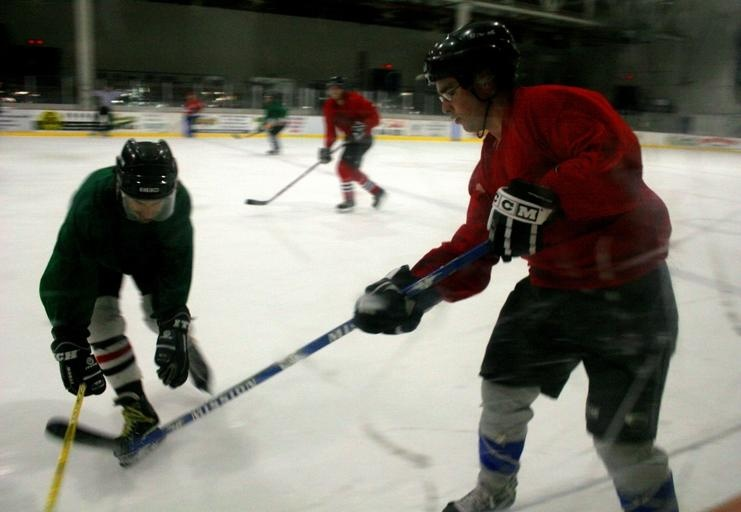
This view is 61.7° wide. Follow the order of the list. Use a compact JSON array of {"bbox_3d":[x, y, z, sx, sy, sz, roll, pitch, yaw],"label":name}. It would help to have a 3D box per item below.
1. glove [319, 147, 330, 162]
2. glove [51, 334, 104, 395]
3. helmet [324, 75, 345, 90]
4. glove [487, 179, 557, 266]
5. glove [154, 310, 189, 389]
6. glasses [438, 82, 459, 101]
[{"bbox_3d":[-0.480,-0.993,6.092,0.142,0.116,0.135,4,-5,-11],"label":"glove"},{"bbox_3d":[-0.937,0.357,2.048,0.144,0.206,0.094,-16,20,-6],"label":"glove"},{"bbox_3d":[-0.299,-1.498,5.360,0.107,0.095,0.082,-42,43,-23],"label":"helmet"},{"bbox_3d":[0.353,-0.074,1.478,0.207,0.174,0.159,1,18,13],"label":"glove"},{"bbox_3d":[-0.627,0.318,2.071,0.133,0.241,0.119,-16,-20,37],"label":"glove"},{"bbox_3d":[0.206,-0.429,1.620,0.037,0.011,0.036,-46,20,-12],"label":"glasses"}]
